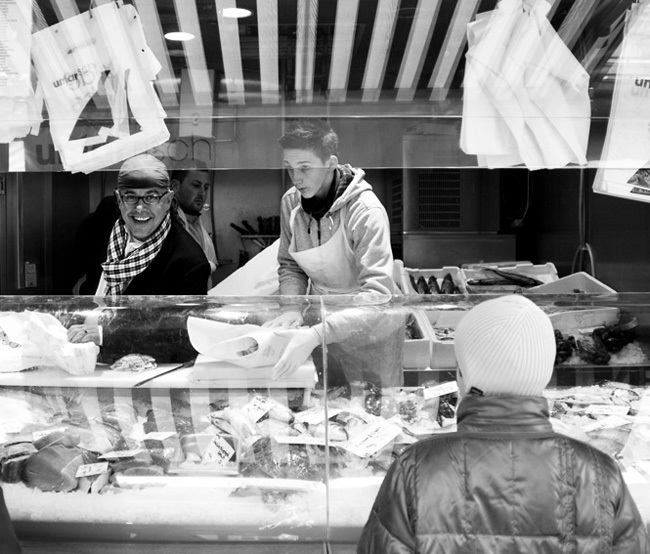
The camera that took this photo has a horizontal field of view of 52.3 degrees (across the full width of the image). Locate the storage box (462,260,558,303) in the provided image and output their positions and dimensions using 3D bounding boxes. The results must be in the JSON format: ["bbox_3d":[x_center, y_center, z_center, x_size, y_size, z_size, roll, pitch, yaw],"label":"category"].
[{"bbox_3d":[0.896,-0.010,3.208,0.324,0.099,0.339,0,13,8],"label":"storage box"}]

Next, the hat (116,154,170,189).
[{"bbox_3d":[-0.741,-0.429,2.686,0.214,0.153,0.224,-8,15,-13],"label":"hat"}]

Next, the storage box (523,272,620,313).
[{"bbox_3d":[1.043,0.046,2.724,0.219,0.076,0.283,-17,18,5],"label":"storage box"}]

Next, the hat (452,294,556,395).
[{"bbox_3d":[0.356,0.123,1.258,0.130,0.187,0.173,-5,0,-13],"label":"hat"}]

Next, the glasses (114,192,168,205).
[{"bbox_3d":[-0.734,-0.313,2.659,0.186,0.049,0.044,0,-1,-5],"label":"glasses"}]

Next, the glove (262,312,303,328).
[{"bbox_3d":[-0.111,0.109,1.612,0.078,0.020,0.044,-14,45,-7],"label":"glove"}]
